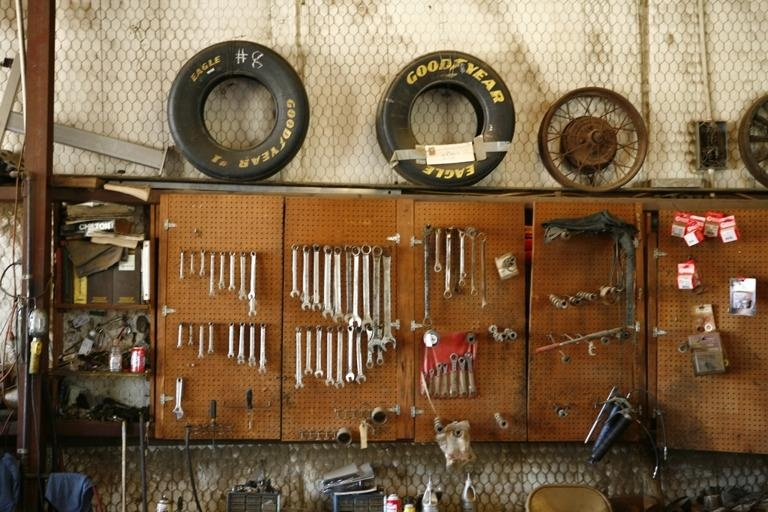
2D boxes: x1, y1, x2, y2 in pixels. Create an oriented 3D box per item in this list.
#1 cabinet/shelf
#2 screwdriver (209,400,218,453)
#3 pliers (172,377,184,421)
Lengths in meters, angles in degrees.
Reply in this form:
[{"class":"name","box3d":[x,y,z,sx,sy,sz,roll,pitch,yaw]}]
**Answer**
[{"class":"cabinet/shelf","box3d":[-2.233,0.431,8.023,0.722,2.015,0.432,1,0,-15]},{"class":"screwdriver","box3d":[-1.349,1.341,7.920,0.053,0.353,0.181,0,-8,-10]},{"class":"pliers","box3d":[-1.631,1.150,7.878,0.074,0.357,0.066,-1,-7,4]}]
